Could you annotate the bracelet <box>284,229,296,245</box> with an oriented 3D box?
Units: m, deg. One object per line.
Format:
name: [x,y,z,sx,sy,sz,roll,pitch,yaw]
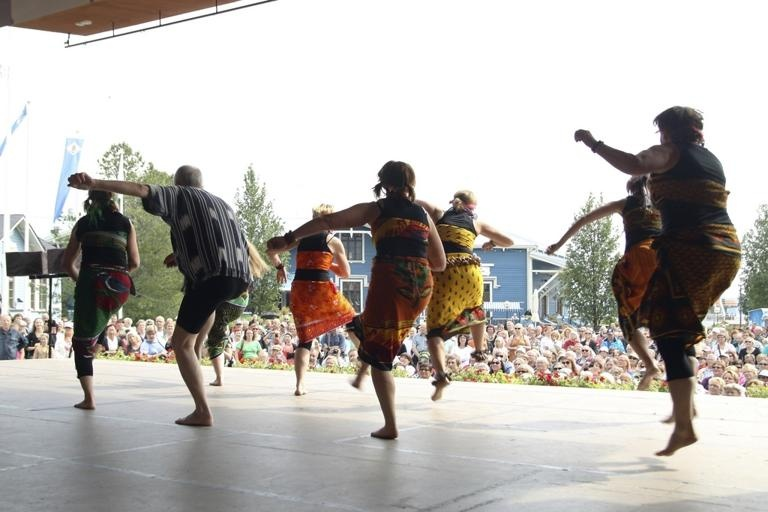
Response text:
bracelet: [-0.730,-0.150,5.774,0.038,0.078,0.119,-32,25,-33]

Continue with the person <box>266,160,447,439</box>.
person: [-0.092,0.300,5.790,1.169,2.141,0.437,2,-7,-7]

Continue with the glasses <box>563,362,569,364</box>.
glasses: [3.036,1.772,12.642,0.045,0.042,0.016,-11,-20,14]

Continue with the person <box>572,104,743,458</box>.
person: [1.951,0.267,5.172,0.958,2.152,0.381,4,-7,-20]

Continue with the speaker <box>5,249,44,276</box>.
speaker: [-5.571,0.083,11.701,0.519,0.281,0.489,-2,0,8]

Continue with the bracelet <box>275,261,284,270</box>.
bracelet: [-1.069,0.087,7.633,0.084,0.062,0.083,1,6,3]

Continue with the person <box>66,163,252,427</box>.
person: [-1.584,0.272,6.120,0.596,2.160,1.553,-2,-7,27]

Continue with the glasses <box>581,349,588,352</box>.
glasses: [3.850,1.787,14.518,0.058,0.053,0.021,-10,-9,19]
